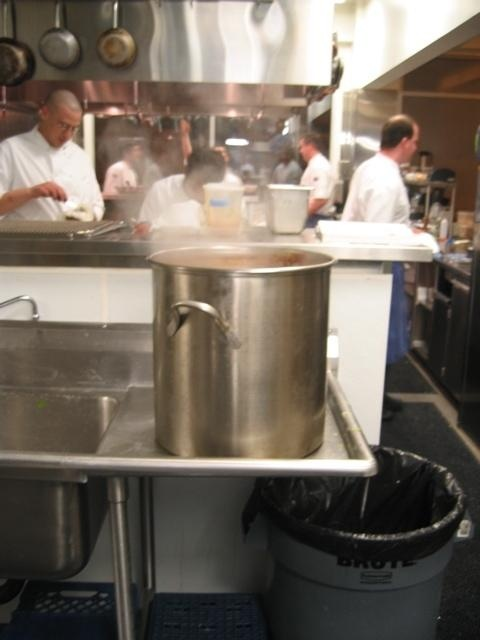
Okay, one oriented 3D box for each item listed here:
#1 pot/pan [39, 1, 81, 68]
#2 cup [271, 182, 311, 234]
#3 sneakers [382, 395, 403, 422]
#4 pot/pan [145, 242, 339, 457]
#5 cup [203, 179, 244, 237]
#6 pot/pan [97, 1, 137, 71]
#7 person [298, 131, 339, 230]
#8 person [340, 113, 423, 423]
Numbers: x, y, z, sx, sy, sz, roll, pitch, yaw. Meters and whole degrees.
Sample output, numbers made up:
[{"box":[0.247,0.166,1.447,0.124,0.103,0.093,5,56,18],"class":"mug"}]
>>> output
[{"box":[-0.696,-1.054,2.255,0.170,0.207,0.154,-1,11,10],"class":"pot/pan"},{"box":[0.158,-0.352,1.945,0.125,0.158,0.134,-2,11,0],"class":"cup"},{"box":[0.797,0.467,3.159,0.064,0.087,0.193,3,9,23],"class":"sneakers"},{"box":[-0.003,0.016,0.746,0.204,0.226,0.203,17,26,42],"class":"pot/pan"},{"box":[-0.055,-0.354,1.931,0.123,0.169,0.202,-3,11,-4],"class":"cup"},{"box":[-0.462,-1.075,2.275,0.147,0.231,0.074,-5,11,-11],"class":"pot/pan"},{"box":[0.651,-1.174,5.093,0.283,0.760,0.910,-1,11,8],"class":"person"},{"box":[0.742,-0.318,3.257,0.392,1.559,0.886,1,11,16],"class":"person"}]
